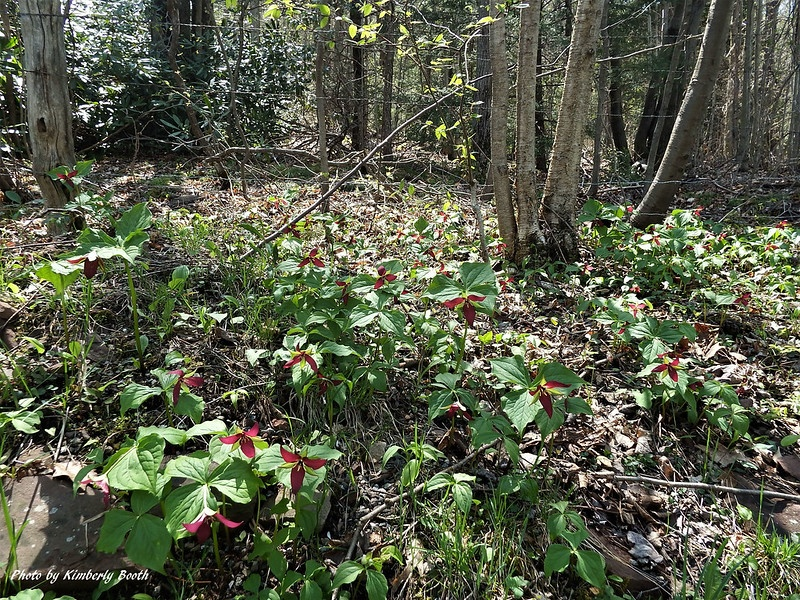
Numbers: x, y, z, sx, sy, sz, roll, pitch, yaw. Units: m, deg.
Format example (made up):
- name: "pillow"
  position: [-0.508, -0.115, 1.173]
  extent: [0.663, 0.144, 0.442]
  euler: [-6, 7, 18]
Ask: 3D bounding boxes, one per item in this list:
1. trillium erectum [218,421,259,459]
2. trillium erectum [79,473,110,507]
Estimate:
- name: "trillium erectum"
  position: [-0.913, 0.788, 3.332]
  extent: [0.197, 0.214, 0.063]
  euler: [-50, 16, -12]
- name: "trillium erectum"
  position: [-1.852, 1.154, 3.553]
  extent: [0.197, 0.233, 0.083]
  euler: [20, 52, 8]
